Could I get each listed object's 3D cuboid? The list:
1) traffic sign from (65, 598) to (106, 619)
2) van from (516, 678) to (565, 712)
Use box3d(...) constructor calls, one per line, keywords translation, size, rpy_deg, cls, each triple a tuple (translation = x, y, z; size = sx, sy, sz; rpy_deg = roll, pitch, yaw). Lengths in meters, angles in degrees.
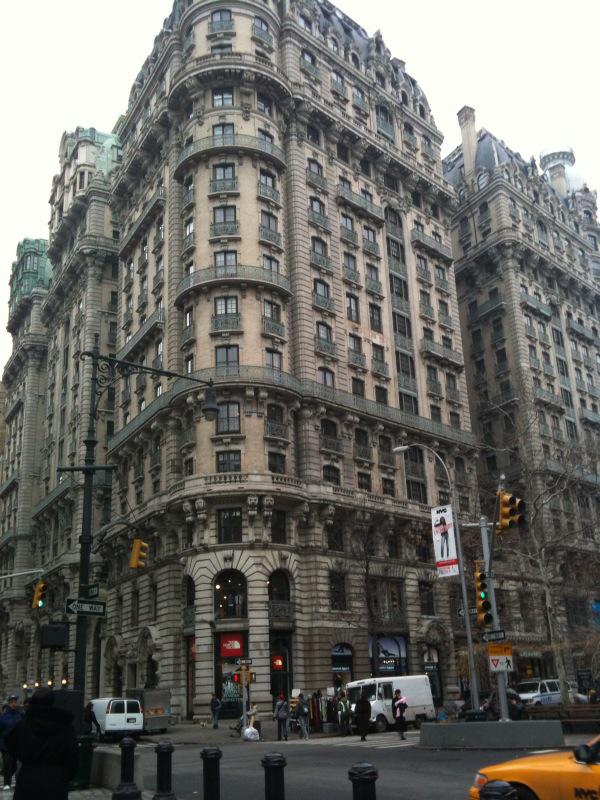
box3d(translation=(-4.711, 4.604, 18.345), size=(0.550, 0.425, 0.987), rpy_deg=(-8, -25, 9), cls="traffic sign")
box3d(translation=(12.116, 14.821, 41.822), size=(1.889, 1.559, 4.859), rpy_deg=(-10, -25, 12), cls="van")
